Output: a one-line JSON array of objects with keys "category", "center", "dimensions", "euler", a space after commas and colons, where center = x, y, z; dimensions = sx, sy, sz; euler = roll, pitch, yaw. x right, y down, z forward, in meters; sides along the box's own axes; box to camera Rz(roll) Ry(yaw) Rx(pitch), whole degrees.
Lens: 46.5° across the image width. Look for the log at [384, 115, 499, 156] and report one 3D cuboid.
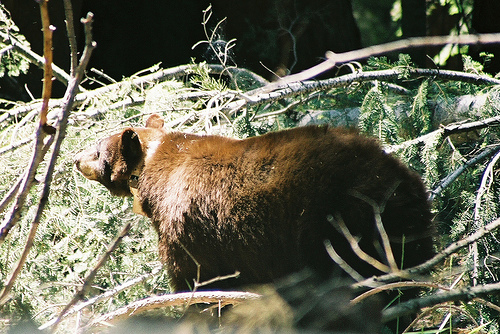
[{"category": "log", "center": [1.563, -0.250, 4.696], "dimensions": [0.832, 0.105, 0.124], "euler": [-16, 36, 24]}]
